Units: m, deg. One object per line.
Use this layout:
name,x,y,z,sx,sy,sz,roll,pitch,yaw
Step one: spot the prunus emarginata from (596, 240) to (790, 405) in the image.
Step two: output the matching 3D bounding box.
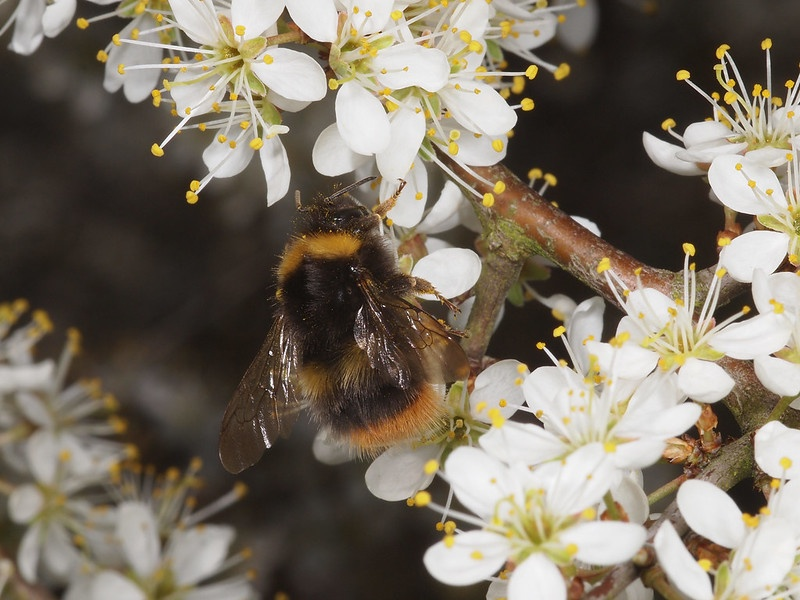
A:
prunus emarginata,0.595,0.017,1.891,0.314,0.155,0.321,36,24,8
